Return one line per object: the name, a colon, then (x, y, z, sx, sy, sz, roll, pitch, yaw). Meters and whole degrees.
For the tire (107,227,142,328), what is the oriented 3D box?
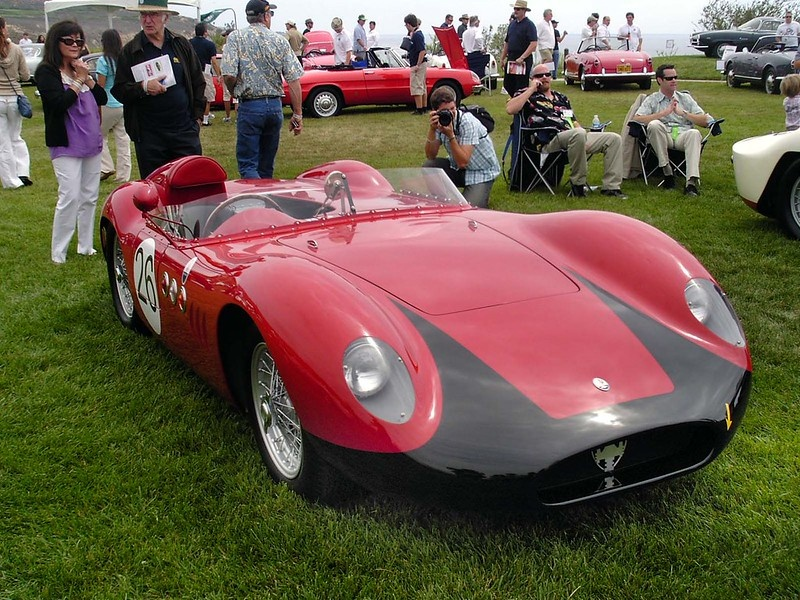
tire: (-1.845, -0.158, 4.139, 0.091, 0.487, 0.463, -12, 58, -25)

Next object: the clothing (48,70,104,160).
clothing: (-2.855, -1.598, 5.395, 0.380, 0.813, 0.582, 1, 12, 7)

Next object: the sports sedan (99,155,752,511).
sports sedan: (-0.082, 0.066, 3.257, 1.537, 0.999, 3.091, -10, 25, -27)

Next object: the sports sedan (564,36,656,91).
sports sedan: (5.641, -6.596, 17.799, 1.375, 1.060, 2.795, -3, 26, -9)

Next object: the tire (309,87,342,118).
tire: (-1.675, -4.349, 13.629, 0.518, 0.596, 0.202, -10, 16, -24)

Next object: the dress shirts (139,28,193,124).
dress shirts: (-2.085, -1.949, 5.441, 0.334, 0.715, 0.531, 21, 38, 37)

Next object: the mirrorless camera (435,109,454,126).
mirrorless camera: (0.411, -1.660, 5.689, 0.122, 0.086, 0.141, 20, 20, -10)

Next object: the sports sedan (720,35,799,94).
sports sedan: (9.451, -6.091, 16.118, 1.174, 1.447, 2.869, 4, 18, 13)
